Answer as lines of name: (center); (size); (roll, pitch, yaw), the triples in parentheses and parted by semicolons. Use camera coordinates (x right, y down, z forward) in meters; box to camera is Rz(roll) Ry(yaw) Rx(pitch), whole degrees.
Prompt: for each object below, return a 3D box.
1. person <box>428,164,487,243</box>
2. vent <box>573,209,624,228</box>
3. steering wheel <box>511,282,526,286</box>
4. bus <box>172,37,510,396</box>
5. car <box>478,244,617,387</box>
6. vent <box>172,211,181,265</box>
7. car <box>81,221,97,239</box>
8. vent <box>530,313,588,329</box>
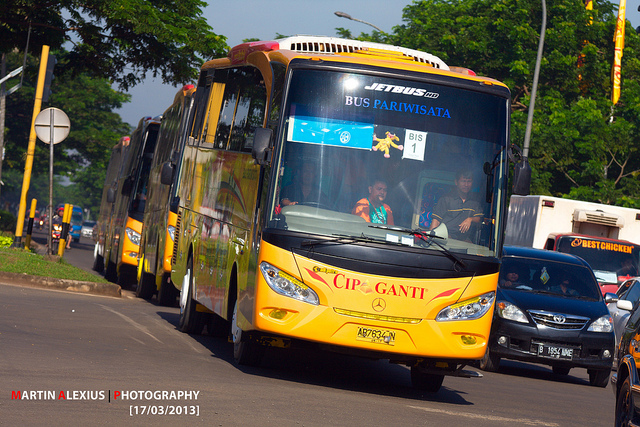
person: (1.831, -0.084, 8.245); (0.752, 1.047, 0.538); (10, 2, -13)
vent: (9.741, 0.126, 22.006); (1.886, 0.443, 0.395); (10, -3, -20)
steering wheel: (4.261, 1.519, 13.526); (0.261, 0.052, 0.055); (9, -2, -10)
bus: (-0.653, -0.054, 12.828); (3.818, 5.035, 10.094); (10, -3, -18)
car: (5.067, 2.259, 14.963); (2.447, 2.786, 5.357); (7, -5, 8)
vent: (-3.053, 0.518, 13.417); (0.098, 1.150, 0.542); (9, -2, -13)
car: (-28.513, 1.894, 77.455); (1.593, 1.491, 2.792); (1, -5, -8)
vent: (4.773, 2.175, 12.549); (1.166, 0.222, 0.192); (10, -2, -11)
